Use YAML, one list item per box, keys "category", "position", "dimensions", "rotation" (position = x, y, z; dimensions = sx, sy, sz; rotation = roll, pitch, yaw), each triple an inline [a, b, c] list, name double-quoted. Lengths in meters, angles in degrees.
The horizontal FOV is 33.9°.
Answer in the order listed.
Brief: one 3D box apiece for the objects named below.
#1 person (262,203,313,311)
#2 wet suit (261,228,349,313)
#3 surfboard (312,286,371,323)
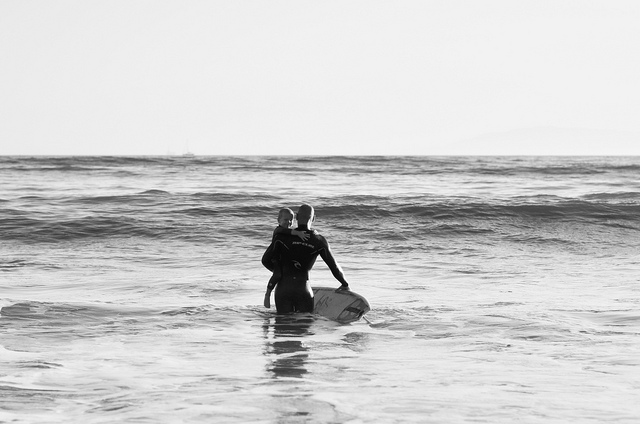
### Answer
- category: "person"
  position: [-0.682, 0.785, 21.496]
  dimensions: [0.695, 2.035, 1.224]
  rotation: [4, -25, -13]
- category: "wet suit"
  position: [-0.405, 1.201, 21.497]
  dimensions: [1.476, 1.561, 1.216]
  rotation: [7, -25, -20]
- category: "surfboard"
  position: [0.429, 1.973, 22.115]
  dimensions: [0.873, 0.212, 0.766]
  rotation: [11, -12, 19]
